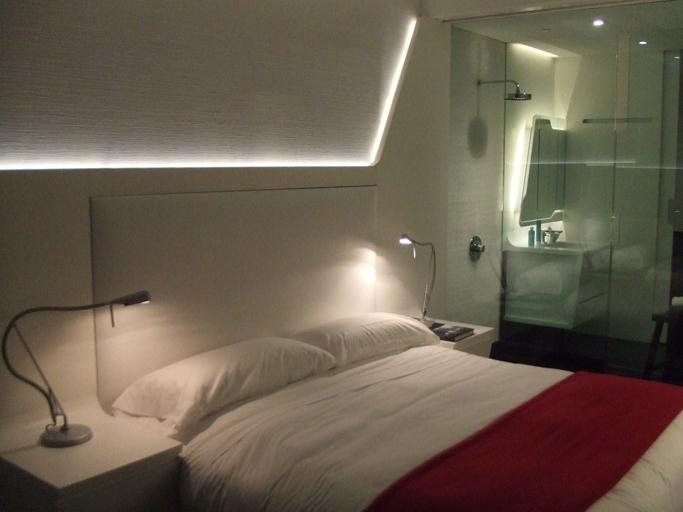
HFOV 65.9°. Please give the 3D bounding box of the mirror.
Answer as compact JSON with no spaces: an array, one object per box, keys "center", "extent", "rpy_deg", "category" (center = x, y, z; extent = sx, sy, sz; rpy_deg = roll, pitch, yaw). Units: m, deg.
[{"center":[1.610,-0.724,4.192],"extent":[0.069,0.758,0.400],"rpy_deg":[-3,10,-20],"category":"mirror"}]
